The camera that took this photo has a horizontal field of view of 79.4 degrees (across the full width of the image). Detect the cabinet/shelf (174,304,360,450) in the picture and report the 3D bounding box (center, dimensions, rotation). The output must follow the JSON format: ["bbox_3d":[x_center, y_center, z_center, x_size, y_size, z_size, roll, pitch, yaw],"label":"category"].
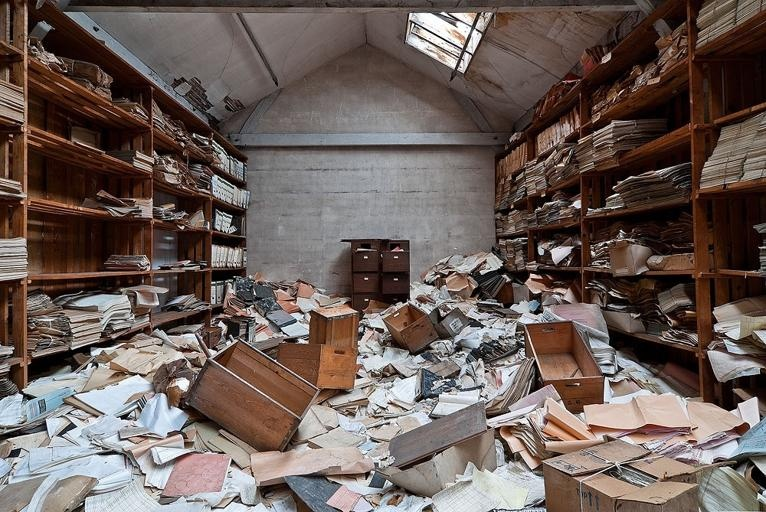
[{"bbox_3d":[-0.815,1.010,3.965,0.767,0.474,1.220,11,21,19],"label":"cabinet/shelf"}]

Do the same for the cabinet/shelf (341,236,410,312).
[{"bbox_3d":[-0.099,0.304,7.269,1.257,1.140,0.650,-1,-5,0],"label":"cabinet/shelf"}]
